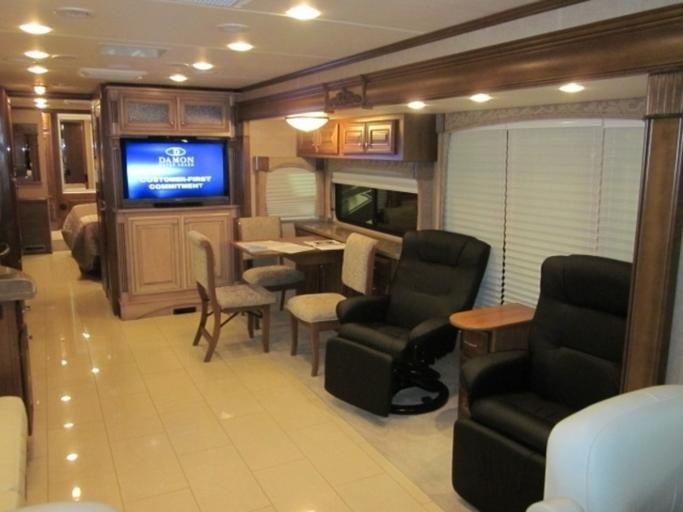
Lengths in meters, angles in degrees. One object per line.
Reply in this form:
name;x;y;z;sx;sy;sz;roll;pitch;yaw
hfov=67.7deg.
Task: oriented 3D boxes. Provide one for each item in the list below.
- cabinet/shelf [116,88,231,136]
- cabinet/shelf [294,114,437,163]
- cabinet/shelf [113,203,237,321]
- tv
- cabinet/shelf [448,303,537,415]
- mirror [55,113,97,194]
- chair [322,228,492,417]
cabinet/shelf;-1.966;-1.662;5.954;1.501;0.486;0.334;-12;33;-38
cabinet/shelf;0.275;-1.171;5.078;0.412;0.462;1.353;-11;14;-43
cabinet/shelf;-1.955;0.081;5.742;1.447;1.336;0.509;-8;5;-28
tv;-2.014;-0.997;5.968;1.026;0.558;0.101;-2;7;-25
cabinet/shelf;1.110;0.718;3.692;0.607;0.618;0.411;-11;13;-30
mirror;-5.708;-2.125;10.790;0.164;1.726;0.730;16;19;29
chair;0.519;0.523;4.205;1.035;1.223;1.349;11;21;42
